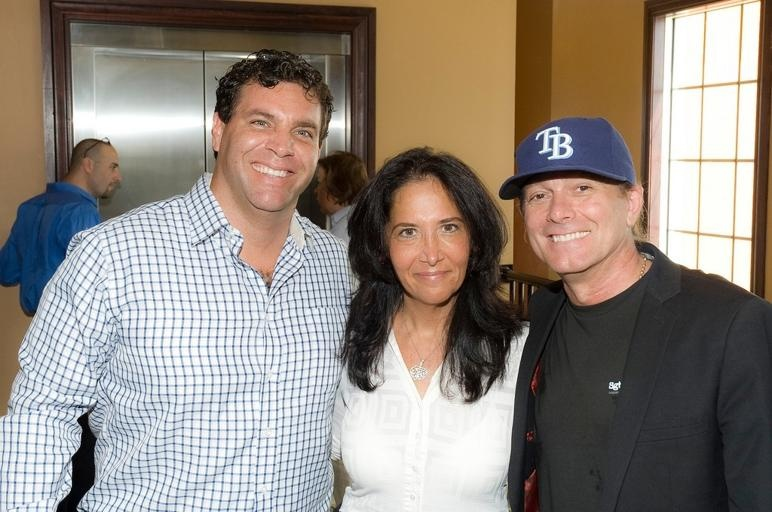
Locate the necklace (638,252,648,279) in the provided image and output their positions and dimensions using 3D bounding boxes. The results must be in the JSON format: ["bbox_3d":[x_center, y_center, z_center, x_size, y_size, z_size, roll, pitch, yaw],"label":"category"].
[{"bbox_3d":[1.030,0.037,2.698,0.019,0.085,0.064,3,-10,8],"label":"necklace"}]

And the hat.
[{"bbox_3d":[0.733,-0.414,2.712,0.428,0.225,0.321,4,-11,-44],"label":"hat"}]
